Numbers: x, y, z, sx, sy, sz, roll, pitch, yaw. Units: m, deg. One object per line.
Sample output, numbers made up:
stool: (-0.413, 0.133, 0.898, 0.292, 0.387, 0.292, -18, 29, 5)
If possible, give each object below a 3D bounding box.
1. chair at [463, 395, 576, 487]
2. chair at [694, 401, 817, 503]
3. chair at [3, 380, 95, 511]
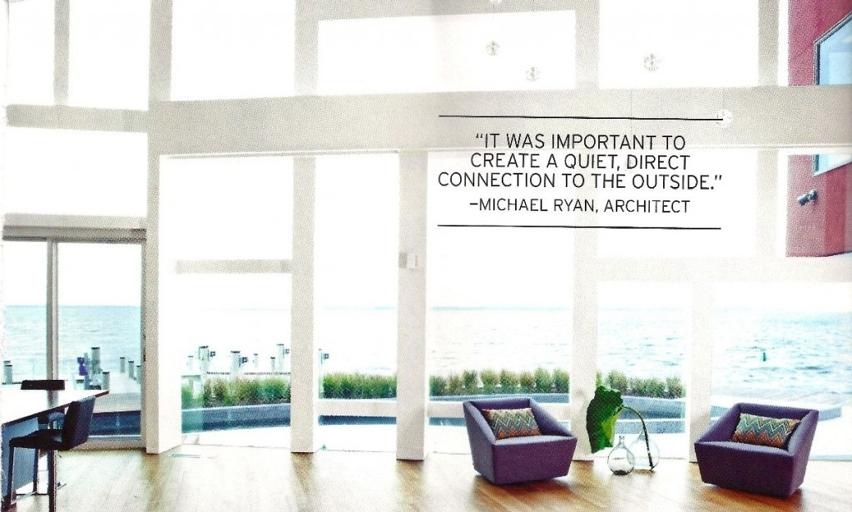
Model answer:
chair: (1.392, 2.794, 11.445, 1.336, 1.011, 1.339, 5, -16, -19)
chair: (5.163, 2.899, 11.416, 1.317, 1.167, 1.520, -5, -10, 37)
chair: (-5.369, 2.785, 10.602, 1.187, 1.499, 0.855, -2, 14, -7)
